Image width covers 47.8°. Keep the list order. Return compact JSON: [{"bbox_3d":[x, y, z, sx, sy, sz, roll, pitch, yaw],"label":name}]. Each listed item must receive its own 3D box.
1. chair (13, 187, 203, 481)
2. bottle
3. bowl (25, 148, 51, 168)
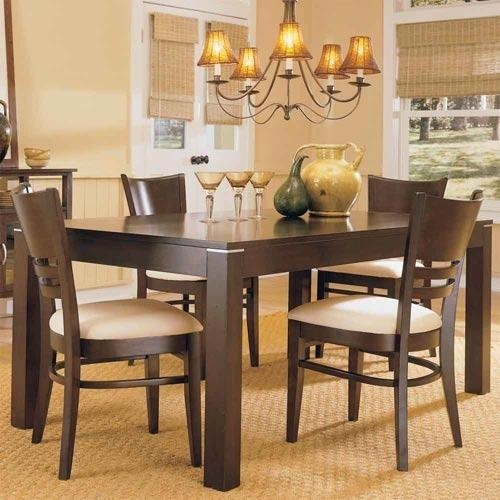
[{"bbox_3d":[-0.430,0.236,1.723,0.578,0.816,0.460,0,4,-2],"label":"chair"},{"bbox_3d":[0.341,-0.302,2.500,0.327,0.348,0.290,3,4,32],"label":"bottle"},{"bbox_3d":[-1.317,-0.570,3.516,0.129,0.110,0.127,0,-1,0],"label":"bowl"}]
